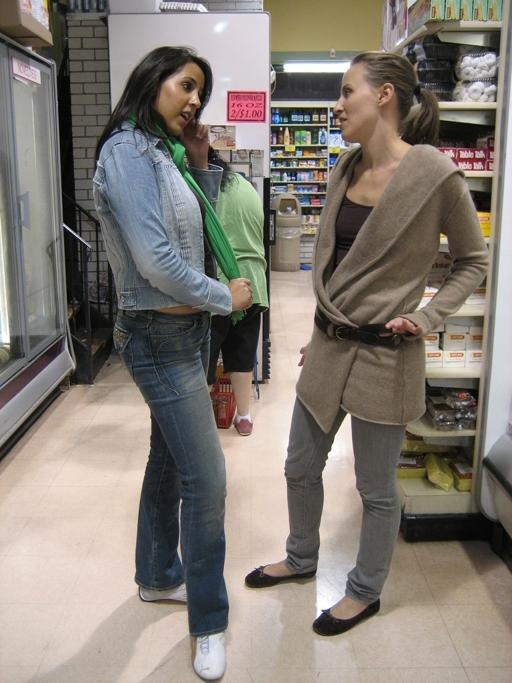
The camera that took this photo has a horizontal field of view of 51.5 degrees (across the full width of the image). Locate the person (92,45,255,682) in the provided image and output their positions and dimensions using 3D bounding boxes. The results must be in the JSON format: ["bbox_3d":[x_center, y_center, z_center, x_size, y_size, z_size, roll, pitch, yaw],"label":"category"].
[{"bbox_3d":[-0.199,0.124,1.399,0.370,1.627,0.530,-3,12,-14],"label":"person"}]

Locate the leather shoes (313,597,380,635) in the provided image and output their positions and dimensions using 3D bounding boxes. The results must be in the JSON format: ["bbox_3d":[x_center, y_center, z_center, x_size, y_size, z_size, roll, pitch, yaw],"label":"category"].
[{"bbox_3d":[0.293,0.845,1.685,0.208,0.070,0.074,-6,1,-25],"label":"leather shoes"}]

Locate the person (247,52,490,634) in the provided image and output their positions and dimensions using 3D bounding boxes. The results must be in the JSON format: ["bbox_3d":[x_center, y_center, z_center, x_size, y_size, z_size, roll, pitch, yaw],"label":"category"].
[{"bbox_3d":[0.333,0.068,1.594,0.398,1.671,0.536,-8,14,-34],"label":"person"}]

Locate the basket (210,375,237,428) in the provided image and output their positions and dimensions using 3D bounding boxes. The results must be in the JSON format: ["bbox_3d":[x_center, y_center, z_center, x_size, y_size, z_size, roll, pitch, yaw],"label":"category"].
[{"bbox_3d":[-0.205,0.379,3.358,0.182,0.269,0.100,-1,-5,-3],"label":"basket"}]

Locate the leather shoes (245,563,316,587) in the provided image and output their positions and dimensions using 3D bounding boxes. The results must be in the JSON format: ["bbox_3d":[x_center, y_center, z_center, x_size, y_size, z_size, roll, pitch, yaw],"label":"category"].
[{"bbox_3d":[0.096,0.809,1.879,0.226,0.058,0.086,1,0,-7],"label":"leather shoes"}]
